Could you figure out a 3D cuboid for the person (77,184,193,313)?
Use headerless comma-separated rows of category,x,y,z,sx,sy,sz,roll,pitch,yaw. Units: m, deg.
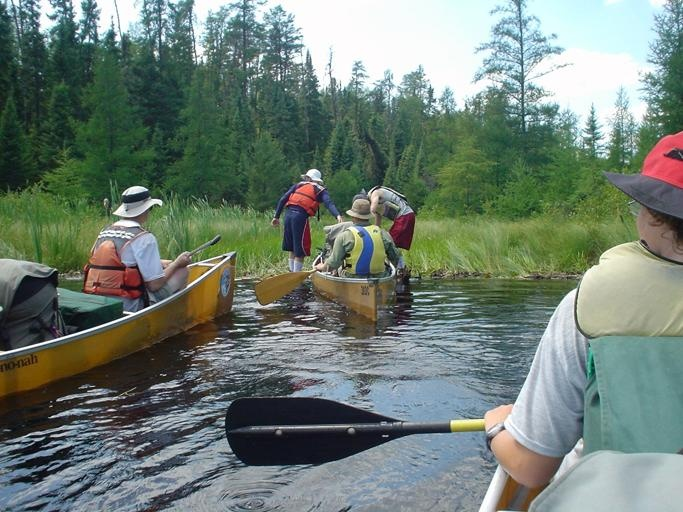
person,-1.951,0.103,6.795,0.830,1.543,1.168,17,15,39

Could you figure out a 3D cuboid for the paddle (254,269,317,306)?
paddle,-0.703,0.356,8.776,1.051,0.305,0.058,-23,0,31

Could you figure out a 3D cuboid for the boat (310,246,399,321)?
boat,0.194,0.370,8.586,0.815,0.518,2.377,0,1,-16

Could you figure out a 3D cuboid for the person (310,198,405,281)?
person,0.310,-0.178,8.780,1.306,1.058,0.761,0,7,-9

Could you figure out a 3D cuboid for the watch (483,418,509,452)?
watch,0.575,0.671,2.537,0.079,0.037,0.095,-13,18,43

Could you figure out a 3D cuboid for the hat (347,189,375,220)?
hat,0.240,-0.627,8.665,0.369,0.238,0.438,7,15,-6
